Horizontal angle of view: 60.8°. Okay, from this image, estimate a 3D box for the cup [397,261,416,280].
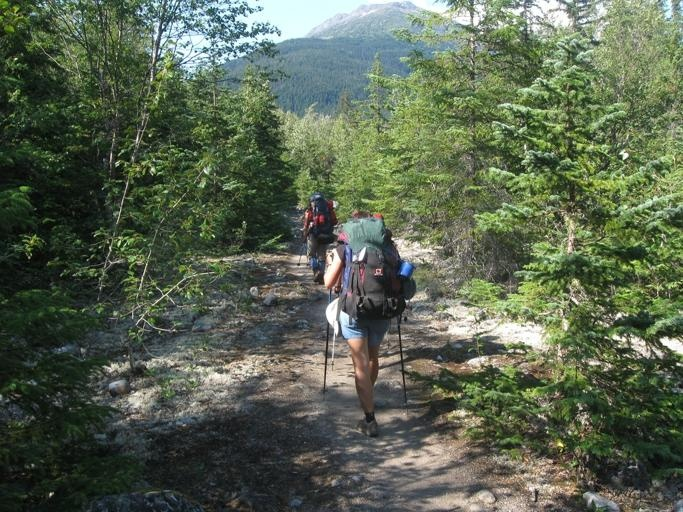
[{"bbox_3d":[1.064,0.242,9.598,0.269,0.198,0.270,23,-17,7],"label":"cup"}]
